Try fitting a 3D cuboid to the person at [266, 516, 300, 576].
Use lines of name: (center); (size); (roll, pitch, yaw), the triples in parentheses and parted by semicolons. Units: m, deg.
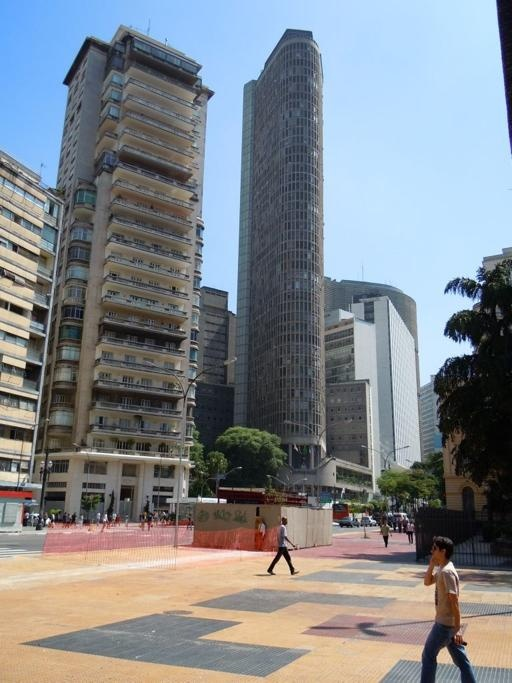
person: (0.863, 6.166, 16.056); (0.992, 1.602, 0.561); (0, -20, 6)
